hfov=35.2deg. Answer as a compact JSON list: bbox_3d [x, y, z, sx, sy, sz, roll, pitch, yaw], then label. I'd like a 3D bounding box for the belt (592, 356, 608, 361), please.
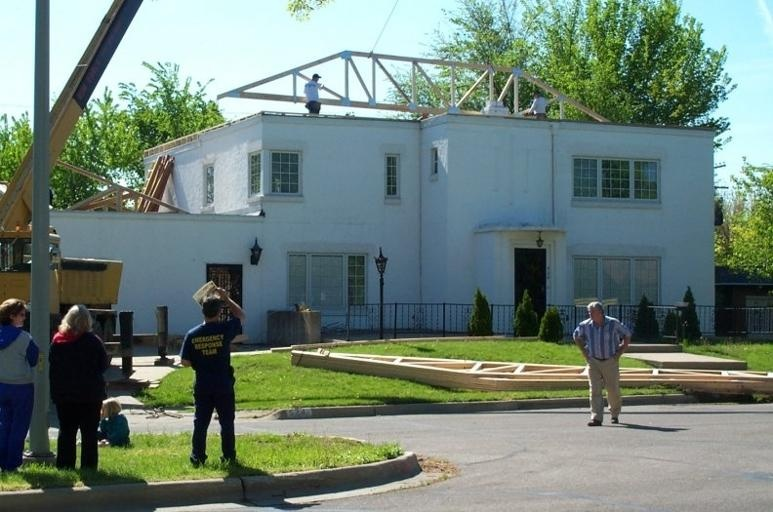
[{"bbox_3d":[5.239,2.538,29.841,0.334,0.114,0.022,7,14,12],"label":"belt"}]

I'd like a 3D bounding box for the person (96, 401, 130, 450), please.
[{"bbox_3d":[-6.222,3.817,27.334,0.780,1.185,0.804,2,-6,-40],"label":"person"}]

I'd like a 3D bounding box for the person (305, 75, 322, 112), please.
[{"bbox_3d":[-2.688,-5.946,44.815,0.585,1.501,1.626,2,13,-4],"label":"person"}]

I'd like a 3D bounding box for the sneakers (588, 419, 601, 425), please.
[{"bbox_3d":[5.071,4.074,29.620,0.236,0.156,0.153,2,-5,8],"label":"sneakers"}]
